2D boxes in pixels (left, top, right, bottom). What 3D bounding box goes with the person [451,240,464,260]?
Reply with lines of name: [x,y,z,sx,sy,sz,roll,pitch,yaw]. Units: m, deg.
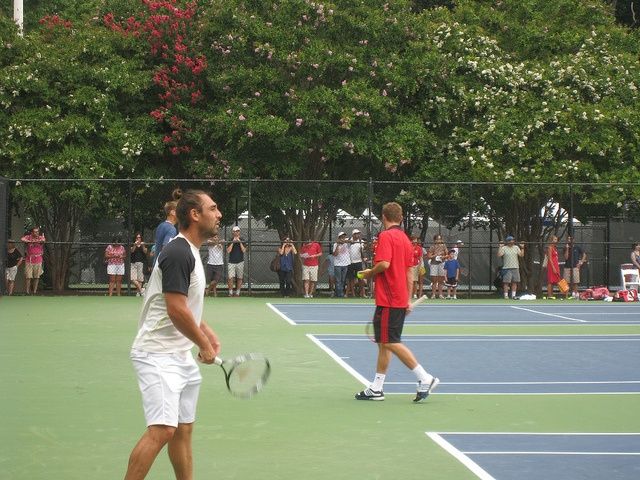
person: [4.755,0.367,30.989,0.286,0.853,0.624,6,8,-3]

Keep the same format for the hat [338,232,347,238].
hat: [0.732,-0.152,29.378,0.278,0.125,0.411,-3,-8,-7]

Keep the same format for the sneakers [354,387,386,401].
sneakers: [0.860,2.666,15.319,0.471,0.248,0.193,2,-6,-1]

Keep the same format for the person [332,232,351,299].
person: [0.661,0.854,28.161,0.520,2.073,0.798,1,10,0]

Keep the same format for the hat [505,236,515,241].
hat: [6.489,-0.027,30.625,0.349,0.120,0.239,-2,5,-40]

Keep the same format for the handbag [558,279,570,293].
handbag: [7.585,1.539,27.866,0.125,0.469,0.469,-16,23,20]

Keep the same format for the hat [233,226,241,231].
hat: [-2.545,-0.338,27.230,0.184,0.144,0.306,1,-2,-15]

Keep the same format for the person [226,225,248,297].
person: [-2.622,0.715,27.850,0.580,2.368,1.133,0,10,-6]

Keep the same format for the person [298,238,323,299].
person: [-0.297,0.929,28.177,0.609,1.976,1.150,1,10,-1]

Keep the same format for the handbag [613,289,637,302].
handbag: [9.616,1.776,28.054,0.532,0.221,0.382,0,-1,-17]

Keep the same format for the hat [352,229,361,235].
hat: [1.118,-0.268,28.047,0.177,0.102,0.255,1,-8,-13]

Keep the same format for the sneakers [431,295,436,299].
sneakers: [3.682,1.877,28.985,0.081,0.103,0.251,2,1,3]

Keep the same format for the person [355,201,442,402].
person: [1.225,1.072,15.236,1.136,3.320,0.815,2,10,2]

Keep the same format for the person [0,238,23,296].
person: [-9.225,0.842,27.022,0.474,1.755,1.240,-2,11,-19]

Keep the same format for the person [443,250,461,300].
person: [4.193,1.143,28.706,0.449,1.652,0.978,3,10,8]

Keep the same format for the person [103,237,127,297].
person: [-6.260,0.867,27.558,0.567,1.922,0.936,-1,11,-12]
